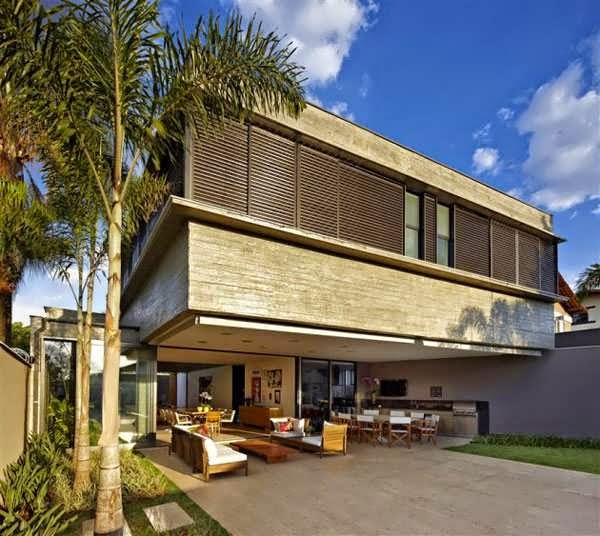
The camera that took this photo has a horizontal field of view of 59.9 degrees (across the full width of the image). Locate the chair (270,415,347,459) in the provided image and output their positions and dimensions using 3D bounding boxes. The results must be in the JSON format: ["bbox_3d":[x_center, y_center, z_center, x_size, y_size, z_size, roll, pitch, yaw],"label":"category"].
[{"bbox_3d":[0.172,5.124,15.807,0.851,1.120,2.811,11,-15,-31],"label":"chair"}]

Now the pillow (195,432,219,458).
[{"bbox_3d":[-2.094,4.059,11.868,0.433,0.433,0.571,3,-6,-21],"label":"pillow"}]

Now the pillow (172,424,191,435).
[{"bbox_3d":[-3.258,4.408,14.172,0.802,0.254,0.706,17,-23,-42],"label":"pillow"}]
